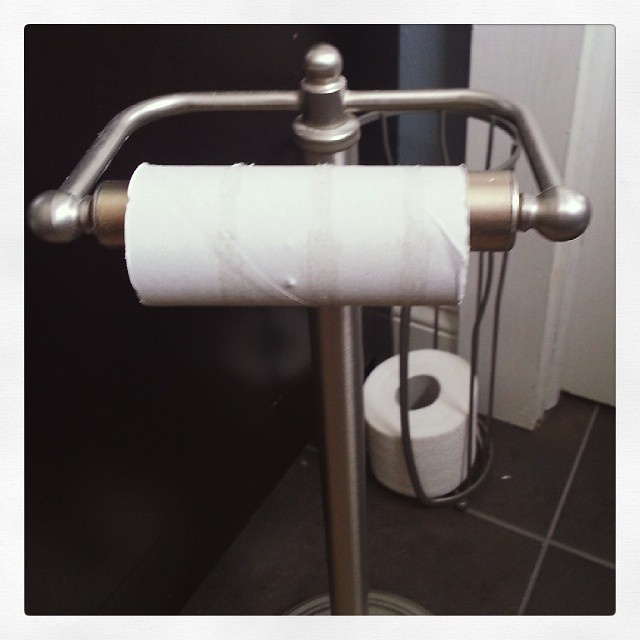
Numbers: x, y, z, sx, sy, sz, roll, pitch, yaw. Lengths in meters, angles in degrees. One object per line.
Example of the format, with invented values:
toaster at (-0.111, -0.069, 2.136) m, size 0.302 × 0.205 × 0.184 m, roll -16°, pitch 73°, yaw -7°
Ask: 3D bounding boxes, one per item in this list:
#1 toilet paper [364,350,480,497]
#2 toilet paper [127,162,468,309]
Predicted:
toilet paper at (0.115, 0.107, 0.827) m, size 0.135 × 0.105 × 0.164 m, roll -4°, pitch 31°, yaw 5°
toilet paper at (-0.008, -0.032, 0.272) m, size 0.131 × 0.060 × 0.027 m, roll -5°, pitch 29°, yaw 5°
